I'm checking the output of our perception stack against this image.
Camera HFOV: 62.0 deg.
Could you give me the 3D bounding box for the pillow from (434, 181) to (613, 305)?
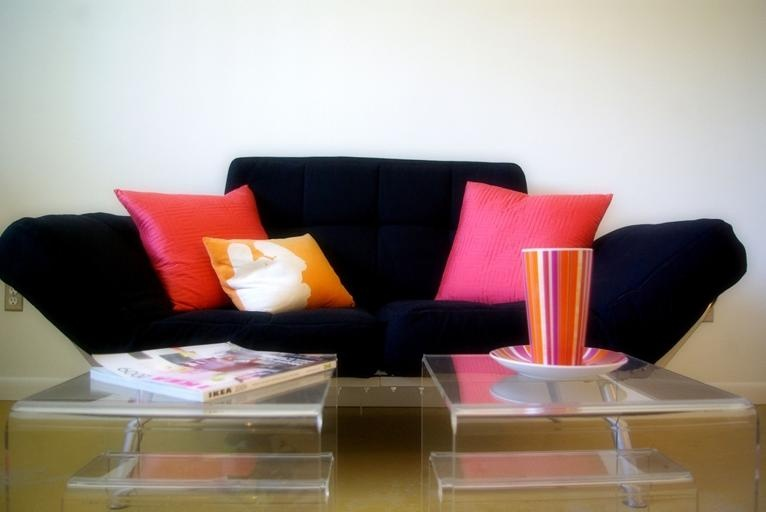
[{"bbox_3d":[0.713,-0.138,3.011,0.634,0.596,0.159,-1,71,8],"label":"pillow"}]
